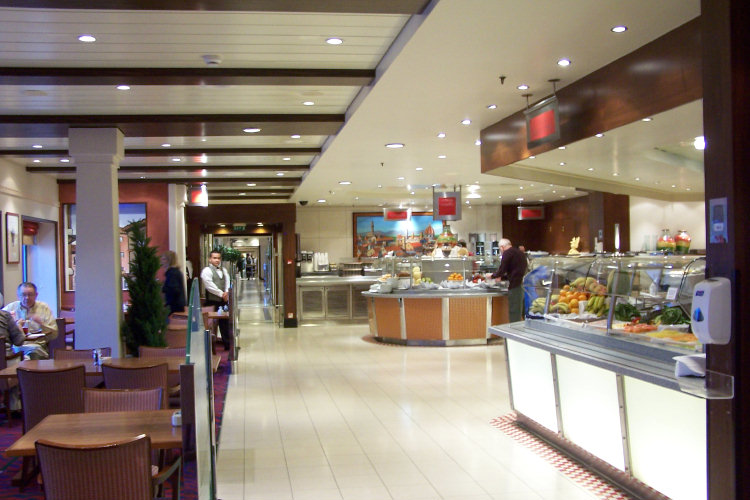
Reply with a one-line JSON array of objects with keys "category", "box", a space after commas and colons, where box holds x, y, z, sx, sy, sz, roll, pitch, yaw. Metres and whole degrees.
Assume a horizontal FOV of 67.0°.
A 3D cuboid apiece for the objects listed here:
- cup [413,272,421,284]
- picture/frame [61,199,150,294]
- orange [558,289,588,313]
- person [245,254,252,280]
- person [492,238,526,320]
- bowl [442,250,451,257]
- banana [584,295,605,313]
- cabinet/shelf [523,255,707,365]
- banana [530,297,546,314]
[{"category": "cup", "box": [0.877, 0.607, 11.812, 0.135, 0.238, 0.176, -2, 1, 4]}, {"category": "picture/frame", "box": [-5.839, -0.069, 12.956, 1.796, 1.813, 1.693, -2, 2, 20]}, {"category": "orange", "box": [2.062, 0.541, 5.953, 0.100, 0.182, 0.243, 25, -14, -26]}, {"category": "person", "box": [-9.497, 1.290, 42.722, 0.508, 1.328, 1.632, -3, 1, -13]}, {"category": "person", "box": [2.652, 0.604, 10.929, 0.641, 1.556, 0.778, -3, 2, -12]}, {"category": "bowl", "box": [1.713, 0.099, 13.560, 0.169, 0.125, 0.167, 0, 7, 0]}, {"category": "banana", "box": [2.192, 0.556, 5.600, 0.121, 0.157, 0.053, -9, -49, 35]}, {"category": "cabinet/shelf", "box": [2.287, 0.488, 5.496, 0.341, 0.871, 2.043, -3, 2, -20]}, {"category": "banana", "box": [1.861, 0.653, 6.482, 0.183, 0.147, 0.096, -4, -15, 16]}]
